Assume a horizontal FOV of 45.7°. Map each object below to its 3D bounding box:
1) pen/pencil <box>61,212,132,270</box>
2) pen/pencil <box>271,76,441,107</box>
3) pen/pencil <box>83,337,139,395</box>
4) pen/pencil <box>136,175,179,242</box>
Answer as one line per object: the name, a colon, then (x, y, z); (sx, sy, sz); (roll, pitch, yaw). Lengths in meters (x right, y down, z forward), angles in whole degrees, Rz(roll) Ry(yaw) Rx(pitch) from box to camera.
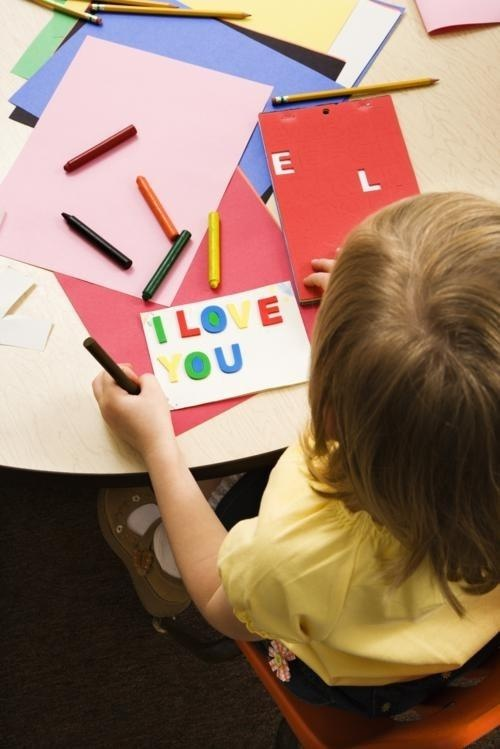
pen/pencil: (-0.179, -0.152, 0.686); (0.094, 0.015, 0.016); (40, 96, 13)
pen/pencil: (0.135, -0.366, 0.769); (0.287, 0.022, 0.021); (-6, 71, -3)
pen/pencil: (-0.131, -0.007, 0.566); (0.022, 0.120, 0.019); (33, 76, 22)
pen/pencil: (-0.110, -0.193, 0.702); (0.017, 0.021, 0.088); (-32, 84, 22)
